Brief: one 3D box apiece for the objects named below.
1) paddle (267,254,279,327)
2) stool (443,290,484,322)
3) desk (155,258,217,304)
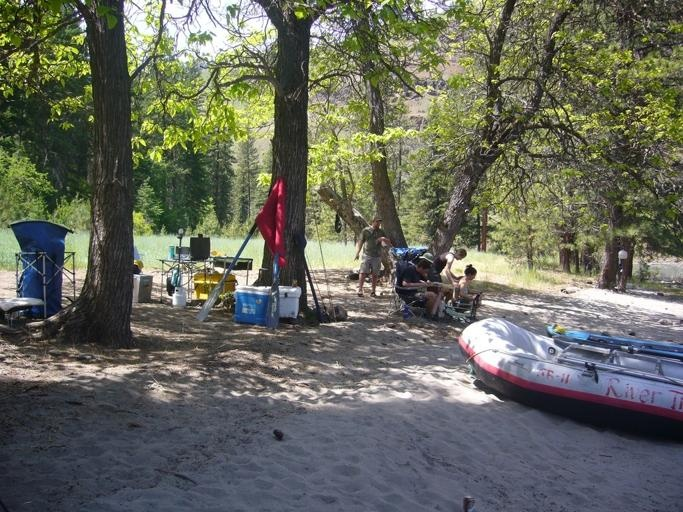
[{"bbox_3d":[-1.315,0.683,12.810,0.180,1.387,0.364,2,-1,5],"label":"paddle"},{"bbox_3d":[2.735,1.122,14.593,0.758,0.801,0.617,0,-2,18],"label":"stool"},{"bbox_3d":[-3.631,0.514,15.409,1.616,1.305,1.059,2,-2,-15],"label":"desk"}]
